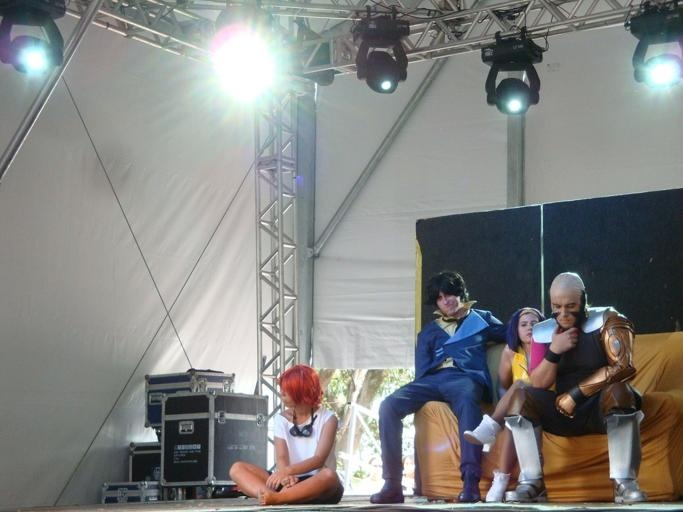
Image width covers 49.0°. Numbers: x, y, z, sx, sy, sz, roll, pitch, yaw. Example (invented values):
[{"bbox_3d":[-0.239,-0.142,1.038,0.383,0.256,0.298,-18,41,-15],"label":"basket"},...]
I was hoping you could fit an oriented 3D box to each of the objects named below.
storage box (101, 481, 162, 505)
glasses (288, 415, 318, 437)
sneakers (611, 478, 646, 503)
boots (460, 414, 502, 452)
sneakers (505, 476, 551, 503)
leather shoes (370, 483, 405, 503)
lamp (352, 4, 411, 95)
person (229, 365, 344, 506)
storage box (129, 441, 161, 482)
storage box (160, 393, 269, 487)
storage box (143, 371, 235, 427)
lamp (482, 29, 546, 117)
[{"bbox_3d":[-2.114,2.357,7.481,0.599,0.193,0.295,0,-15,-10],"label":"storage box"},{"bbox_3d":[-0.246,1.150,5.144,0.109,0.173,0.054,6,5,13],"label":"glasses"},{"bbox_3d":[1.794,1.466,4.652,0.082,0.134,0.262,1,-25,-8],"label":"sneakers"},{"bbox_3d":[0.994,1.213,5.231,0.267,0.192,0.133,-4,-13,4],"label":"boots"},{"bbox_3d":[1.238,1.567,4.975,0.271,0.167,0.126,4,-13,-6],"label":"sneakers"},{"bbox_3d":[0.335,1.758,5.490,0.245,0.195,0.124,3,-26,-3],"label":"leather shoes"},{"bbox_3d":[0.397,-1.968,7.228,0.512,0.729,0.336,-3,-12,0],"label":"lamp"},{"bbox_3d":[-0.186,1.305,5.211,0.664,0.955,0.885,-10,-23,27],"label":"person"},{"bbox_3d":[-2.025,2.136,7.826,0.334,0.400,0.375,2,-7,-11],"label":"storage box"},{"bbox_3d":[-1.300,1.979,7.933,0.619,0.944,1.130,-7,-16,23],"label":"storage box"},{"bbox_3d":[-1.799,1.543,8.117,0.724,0.490,0.763,-10,-8,17],"label":"storage box"},{"bbox_3d":[1.692,-1.775,7.335,0.523,0.801,0.436,4,5,30],"label":"lamp"}]
